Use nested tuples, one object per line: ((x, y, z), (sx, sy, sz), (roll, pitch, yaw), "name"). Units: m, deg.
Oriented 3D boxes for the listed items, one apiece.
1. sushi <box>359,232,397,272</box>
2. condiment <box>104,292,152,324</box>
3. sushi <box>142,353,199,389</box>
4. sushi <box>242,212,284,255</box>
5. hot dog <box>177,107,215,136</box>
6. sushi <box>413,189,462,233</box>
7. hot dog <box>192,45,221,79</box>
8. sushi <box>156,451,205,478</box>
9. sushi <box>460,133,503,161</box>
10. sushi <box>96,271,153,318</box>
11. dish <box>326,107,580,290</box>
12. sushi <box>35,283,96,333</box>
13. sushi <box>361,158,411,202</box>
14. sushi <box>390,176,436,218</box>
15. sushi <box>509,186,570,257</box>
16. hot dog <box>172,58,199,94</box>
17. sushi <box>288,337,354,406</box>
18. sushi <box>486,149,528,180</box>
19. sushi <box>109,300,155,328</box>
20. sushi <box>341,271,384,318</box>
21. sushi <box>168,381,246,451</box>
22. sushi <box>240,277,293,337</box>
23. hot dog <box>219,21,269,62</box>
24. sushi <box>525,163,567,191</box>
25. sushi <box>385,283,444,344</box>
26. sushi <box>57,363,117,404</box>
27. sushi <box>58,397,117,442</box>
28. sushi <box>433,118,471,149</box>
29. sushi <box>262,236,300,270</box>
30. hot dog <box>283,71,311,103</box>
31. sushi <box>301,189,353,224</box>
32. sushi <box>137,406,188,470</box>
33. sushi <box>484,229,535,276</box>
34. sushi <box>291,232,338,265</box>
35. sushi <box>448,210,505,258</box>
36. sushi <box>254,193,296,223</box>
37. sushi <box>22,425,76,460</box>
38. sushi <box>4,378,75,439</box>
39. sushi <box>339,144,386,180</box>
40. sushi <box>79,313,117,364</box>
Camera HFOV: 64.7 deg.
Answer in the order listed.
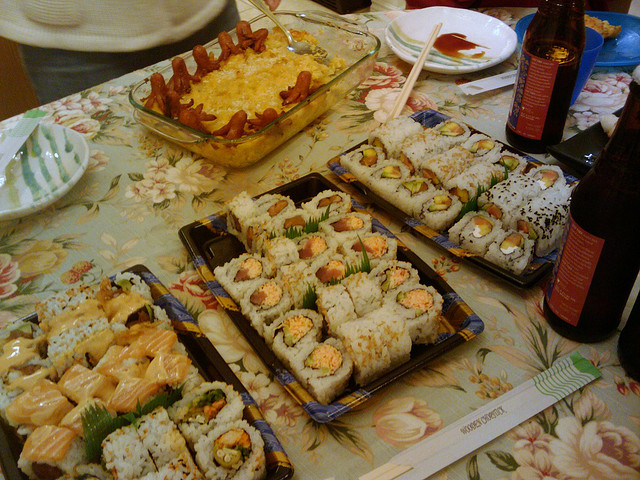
((0.248, 0.037, 2.132), (0.123, 0.061, 0.156), (5, 37, 5), "sushi")
((-0.747, 0.260, 1.965), (0.139, 0.041, 0.102), (-25, 61, -16), "condiment")
((-0.545, 0.450, 1.801), (0.160, 0.123, 0.049), (-7, 7, 3), "sushi")
((-0.265, -0.042, 2.192), (0.191, 0.082, 0.159), (-43, 37, -3), "sushi")
((-0.652, -0.635, 2.622), (0.172, 0.047, 0.144), (26, 35, 32), "hot dog")
((0.525, -0.135, 2.249), (0.186, 0.089, 0.182), (33, 66, 27), "sushi")
((-0.688, -1.066, 3.057), (0.198, 0.132, 0.169), (-18, 32, 16), "hot dog")
((-0.444, 0.730, 1.605), (0.091, 0.033, 0.090), (-21, 46, -25), "sushi")
((0.812, -0.466, 2.514), (0.151, 0.054, 0.151), (-24, 53, -14), "sushi")
((-0.771, 0.214, 2.008), (0.168, 0.055, 0.168), (-21, 55, -20), "sushi")
((0.489, -0.084, 2.317), (0.779, 0.154, 1.071), (-41, 58, -21), "dish")
((-0.988, 0.246, 1.943), (0.187, 0.054, 0.187), (-26, 53, -15), "sushi")
((0.320, -0.299, 2.406), (0.196, 0.081, 0.206), (36, 68, 26), "sushi")
((0.429, -0.206, 2.327), (0.180, 0.073, 0.191), (25, 65, 29), "sushi")
((0.956, -0.149, 2.199), (0.198, 0.119, 0.335), (29, 59, 24), "sushi")
((-0.786, -0.968, 2.950), (0.057, 0.184, 0.172), (-24, 89, -52), "hot dog")
((0.011, 0.455, 1.796), (0.200, 0.086, 0.198), (29, 51, 26), "sushi")
((0.903, -0.374, 2.419), (0.125, 0.057, 0.144), (-37, 53, -16), "sushi")
((-0.723, 0.285, 1.935), (0.140, 0.042, 0.085), (-17, 60, -21), "sushi")
((0.167, 0.218, 1.982), (0.158, 0.051, 0.157), (-27, 79, -18), "sushi")
((-0.422, 0.630, 1.791), (0.170, 0.225, 0.102), (23, 86, 21), "sushi")
((-0.221, 0.236, 1.940), (0.163, 0.074, 0.208), (17, 49, 10), "sushi")
((-0.472, -1.252, 3.135), (0.288, 0.103, 0.293), (-13, 75, -3), "hot dog")
((1.037, -0.287, 2.297), (0.122, 0.052, 0.142), (-26, 46, -4), "sushi")
((0.381, 0.266, 1.972), (0.178, 0.094, 0.236), (-13, 37, 1), "sushi")
((-0.820, 0.557, 1.766), (0.191, 0.137, 0.105), (20, 27, 13), "sushi")
((-0.802, 0.591, 1.740), (0.150, 0.078, 0.144), (-47, 22, -12), "sushi")
((0.684, -0.558, 2.603), (0.166, 0.050, 0.166), (-40, 60, -20), "sushi")
((-0.160, 0.047, 2.097), (0.128, 0.036, 0.127), (-24, 63, -26), "sushi")
((-0.115, -0.824, 2.743), (0.114, 0.049, 0.209), (20, 76, 22), "hot dog")
((0.041, -0.161, 2.300), (0.174, 0.061, 0.140), (-30, 56, -17), "sushi")
((-0.518, 0.661, 1.674), (0.131, 0.066, 0.183), (-30, 66, -18), "sushi")
((0.806, 0.034, 2.107), (0.185, 0.051, 0.187), (24, 72, 33), "sushi")
((-0.029, 0.024, 2.171), (0.141, 0.045, 0.141), (-25, 46, -15), "sushi")
((0.671, -0.036, 2.176), (0.193, 0.084, 0.195), (28, 69, 35), "sushi")
((-0.202, -0.142, 2.283), (0.145, 0.050, 0.145), (-20, 49, -17), "sushi")
((-0.889, 0.672, 1.657), (0.142, 0.036, 0.110), (8, 51, 8), "sushi")
((-0.957, 0.602, 1.763), (0.183, 0.060, 0.182), (-32, 60, -26), "sushi")
((0.213, -0.400, 2.498), (0.183, 0.065, 0.179), (-41, 50, -19), "sushi")
((-0.817, 0.366, 1.867), (0.126, 0.063, 0.173), (-16, 64, -18), "sushi")
